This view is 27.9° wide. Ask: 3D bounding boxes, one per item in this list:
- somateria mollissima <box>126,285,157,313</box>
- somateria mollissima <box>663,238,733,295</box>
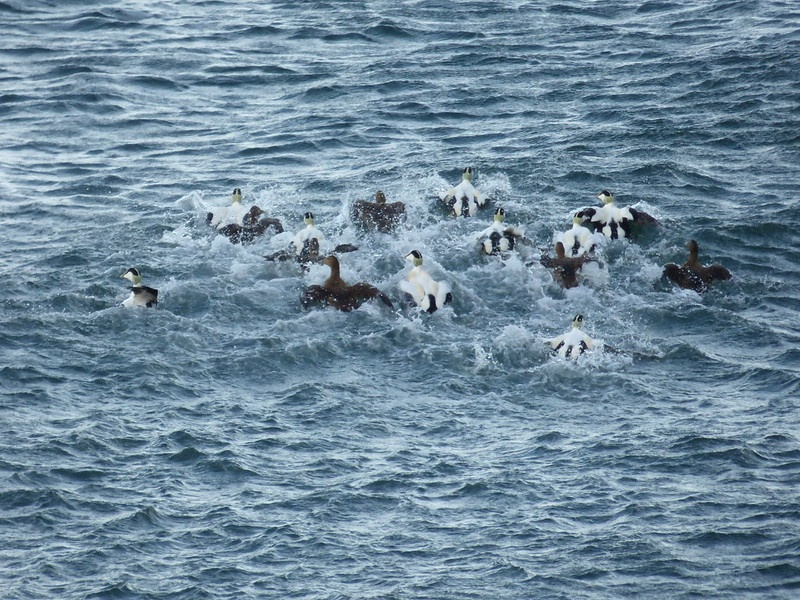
[{"bbox_3d":[-6.585,-0.109,42.099,0.666,0.803,0.530,1,75,-36],"label":"somateria mollissima"},{"bbox_3d":[7.947,-0.782,43.136,1.210,0.737,1.330,-44,78,-10],"label":"somateria mollissima"}]
